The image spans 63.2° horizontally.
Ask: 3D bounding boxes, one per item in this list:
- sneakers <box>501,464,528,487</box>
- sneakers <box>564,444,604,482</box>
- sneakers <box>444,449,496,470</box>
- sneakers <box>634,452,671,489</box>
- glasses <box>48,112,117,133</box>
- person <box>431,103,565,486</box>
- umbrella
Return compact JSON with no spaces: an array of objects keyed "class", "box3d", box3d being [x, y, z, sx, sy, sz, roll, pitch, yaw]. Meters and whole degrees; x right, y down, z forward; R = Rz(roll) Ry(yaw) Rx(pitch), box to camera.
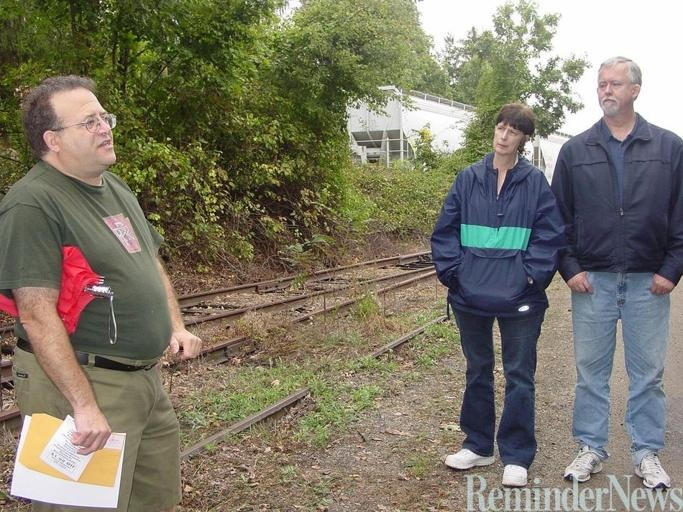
[{"class":"sneakers","box3d":[1.327,1.681,4.247,0.173,0.153,0.119,3,9,13]},{"class":"sneakers","box3d":[1.907,1.629,4.361,0.166,0.182,0.409,-2,-9,36]},{"class":"sneakers","box3d":[1.052,1.646,4.594,0.417,0.185,0.159,2,-4,-10]},{"class":"sneakers","box3d":[2.388,1.634,4.261,0.193,0.179,0.438,-3,-2,13]},{"class":"glasses","box3d":[-1.442,-0.733,3.076,0.198,0.058,0.195,-6,8,23]},{"class":"person","box3d":[1.198,0.300,4.320,0.900,2.929,0.545,5,10,26]},{"class":"umbrella","box3d":[-1.380,0.232,2.769,0.500,0.485,0.180,21,6,-1]}]
